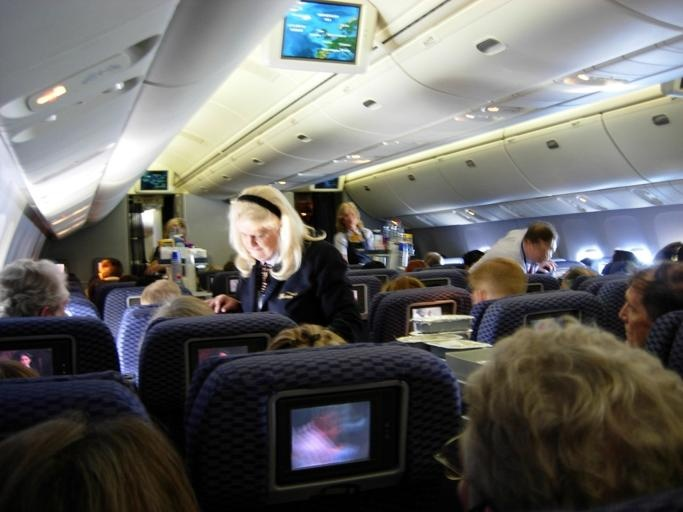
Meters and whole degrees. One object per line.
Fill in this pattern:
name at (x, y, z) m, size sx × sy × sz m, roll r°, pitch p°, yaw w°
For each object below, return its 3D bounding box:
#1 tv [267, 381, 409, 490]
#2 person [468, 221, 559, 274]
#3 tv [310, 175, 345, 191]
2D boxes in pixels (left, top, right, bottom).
tv at (-0.018, 0.390, 1.085) m, size 0.327 × 0.189 × 0.040 m, roll -4°, pitch 12°, yaw -19°
person at (1.973, -0.141, 5.562) m, size 0.437 × 0.368 × 1.189 m, roll 38°, pitch -40°, yaw -28°
tv at (-0.393, -2.003, 13.480) m, size 0.891 × 0.537 × 0.115 m, roll -1°, pitch -6°, yaw 7°
